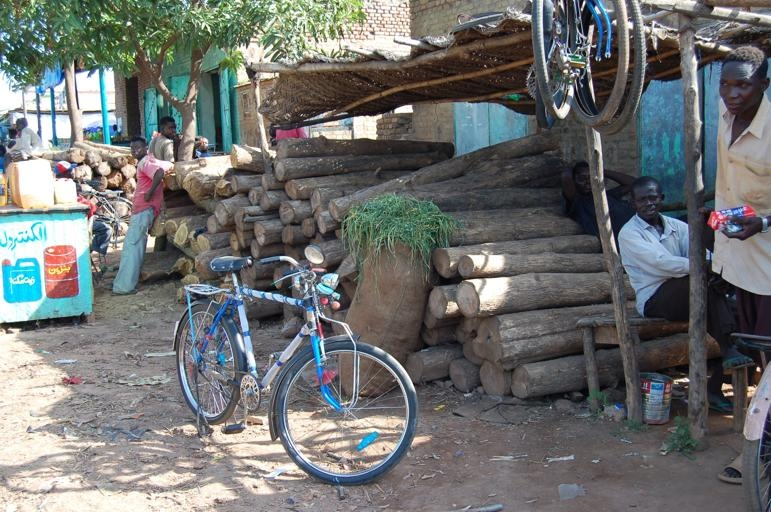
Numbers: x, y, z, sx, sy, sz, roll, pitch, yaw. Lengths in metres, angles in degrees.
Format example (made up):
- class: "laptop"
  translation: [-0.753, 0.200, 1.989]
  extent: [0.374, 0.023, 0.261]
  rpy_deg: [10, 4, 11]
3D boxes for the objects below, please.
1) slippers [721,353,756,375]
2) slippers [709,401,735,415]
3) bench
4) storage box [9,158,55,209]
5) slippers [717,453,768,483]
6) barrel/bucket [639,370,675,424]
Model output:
- class: "slippers"
  translation: [3.023, 0.921, 5.587]
  extent: [0.162, 0.157, 0.246]
  rpy_deg: [-6, -24, -3]
- class: "slippers"
  translation: [3.205, 1.432, 6.169]
  extent: [0.101, 0.067, 0.185]
  rpy_deg: [-12, 20, -38]
- class: "bench"
  translation: [2.421, 1.025, 6.383]
  extent: [0.839, 0.904, 0.675]
  rpy_deg: [-15, 9, -36]
- class: "storage box"
  translation: [-4.770, -0.946, 8.783]
  extent: [0.390, 0.474, 0.644]
  rpy_deg: [-7, 14, -18]
- class: "slippers"
  translation: [2.714, 1.667, 5.093]
  extent: [0.182, 0.143, 0.491]
  rpy_deg: [-4, -6, -22]
- class: "barrel/bucket"
  translation: [2.548, 1.370, 6.166]
  extent: [0.352, 0.365, 0.340]
  rpy_deg: [5, -3, 0]
